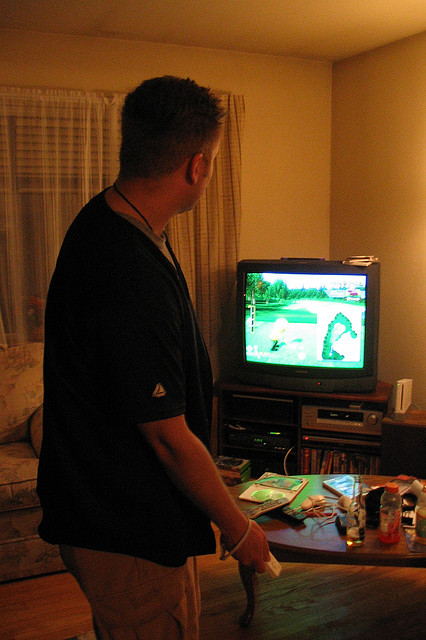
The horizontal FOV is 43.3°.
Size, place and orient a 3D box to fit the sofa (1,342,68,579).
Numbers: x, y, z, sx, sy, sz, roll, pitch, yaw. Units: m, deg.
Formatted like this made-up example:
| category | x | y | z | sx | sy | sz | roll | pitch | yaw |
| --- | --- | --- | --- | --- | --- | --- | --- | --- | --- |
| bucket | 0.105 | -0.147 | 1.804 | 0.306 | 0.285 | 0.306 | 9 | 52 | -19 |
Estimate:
| category | x | y | z | sx | sy | sz | roll | pitch | yaw |
| --- | --- | --- | --- | --- | --- | --- | --- | --- | --- |
| sofa | -0.890 | 0.612 | 2.566 | 0.259 | 0.898 | 0.764 | -3 | 6 | -21 |

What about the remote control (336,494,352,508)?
| category | x | y | z | sx | sy | sz | roll | pitch | yaw |
| --- | --- | --- | --- | --- | --- | --- | --- | --- | --- |
| remote control | 0.477 | 0.648 | 1.935 | 0.037 | 0.021 | 0.058 | -23 | -19 | -12 |

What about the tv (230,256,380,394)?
| category | x | y | z | sx | sy | sz | roll | pitch | yaw |
| --- | --- | --- | --- | --- | --- | --- | --- | --- | --- |
| tv | 0.582 | -0.020 | 3.307 | 0.826 | 0.745 | 0.475 | 1 | 12 | 11 |

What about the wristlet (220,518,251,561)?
| category | x | y | z | sx | sy | sz | roll | pitch | yaw |
| --- | --- | --- | --- | --- | --- | --- | --- | --- | --- |
| wristlet | 0.048 | 0.359 | 0.898 | 0.074 | 0.060 | 0.019 | -1 | 30 | -48 |

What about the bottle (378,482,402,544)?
| category | x | y | z | sx | sy | sz | roll | pitch | yaw |
| --- | --- | --- | --- | --- | --- | --- | --- | --- | --- |
| bottle | 0.569 | 0.603 | 1.715 | 0.069 | 0.189 | 0.112 | 1 | 6 | 18 |

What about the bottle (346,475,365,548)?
| category | x | y | z | sx | sy | sz | roll | pitch | yaw |
| --- | --- | --- | --- | --- | --- | --- | --- | --- | --- |
| bottle | 0.459 | 0.603 | 1.717 | 0.057 | 0.185 | 0.161 | 1 | 6 | 15 |

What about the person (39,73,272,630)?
| category | x | y | z | sx | sy | sz | roll | pitch | yaw |
| --- | --- | --- | --- | --- | --- | --- | --- | --- | --- |
| person | -0.088 | 0.092 | 0.871 | 0.326 | 0.957 | 0.235 | -4 | 7 | -35 |

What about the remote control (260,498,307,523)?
| category | x | y | z | sx | sy | sz | roll | pitch | yaw |
| --- | --- | --- | --- | --- | --- | --- | --- | --- | --- |
| remote control | 0.282 | 0.672 | 1.873 | 0.088 | 0.027 | 0.121 | -4 | 7 | -36 |

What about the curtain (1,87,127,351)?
| category | x | y | z | sx | sy | sz | roll | pitch | yaw |
| --- | --- | --- | --- | --- | --- | --- | --- | --- | --- |
| curtain | -0.927 | -0.609 | 3.248 | 0.733 | 1.513 | 0.190 | -3 | 6 | -25 |

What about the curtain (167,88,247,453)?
| category | x | y | z | sx | sy | sz | roll | pitch | yaw |
| --- | --- | --- | --- | --- | --- | --- | --- | --- | --- |
| curtain | -0.040 | -0.515 | 3.515 | 0.500 | 1.866 | 0.205 | -1 | 5 | -6 |
